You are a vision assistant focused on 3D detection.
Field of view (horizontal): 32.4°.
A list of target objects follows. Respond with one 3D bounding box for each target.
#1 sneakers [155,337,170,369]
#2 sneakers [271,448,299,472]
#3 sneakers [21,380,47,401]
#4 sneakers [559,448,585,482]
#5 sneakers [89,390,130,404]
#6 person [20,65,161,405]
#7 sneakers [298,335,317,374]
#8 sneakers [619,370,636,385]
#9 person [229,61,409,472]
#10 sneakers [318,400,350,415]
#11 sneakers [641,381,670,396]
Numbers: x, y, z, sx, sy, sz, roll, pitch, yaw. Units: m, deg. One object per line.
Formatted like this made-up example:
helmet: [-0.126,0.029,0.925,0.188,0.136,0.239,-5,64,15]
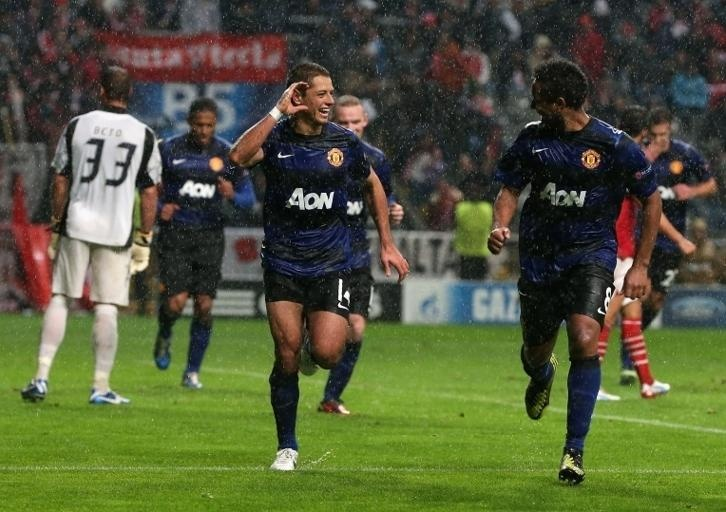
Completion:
sneakers: [-1.858,0.892,11.554,0.114,0.339,0.145,-4,6,-17]
sneakers: [-0.543,1.368,8.502,0.182,0.141,0.146,1,6,-7]
sneakers: [-2.629,1.069,10.019,0.107,0.168,0.300,1,2,-34]
sneakers: [1.375,1.389,8.296,0.163,0.237,0.194,3,6,9]
sneakers: [-2.101,1.165,10.348,0.335,0.147,0.126,2,-2,-16]
person: [-2.182,-0.156,10.159,1.010,2.736,0.432,0,6,-15]
sneakers: [-0.399,0.689,8.660,0.166,0.209,0.230,2,-41,-8]
sneakers: [2.574,1.164,12.229,0.136,0.152,0.144,0,3,2]
person: [-0.379,0.052,8.626,1.116,2.739,0.582,0,6,-12]
sneakers: [-0.246,1.235,10.319,0.276,0.131,0.108,2,-2,-1]
sneakers: [2.627,1.192,11.330,0.303,0.147,0.115,-3,-33,-7]
